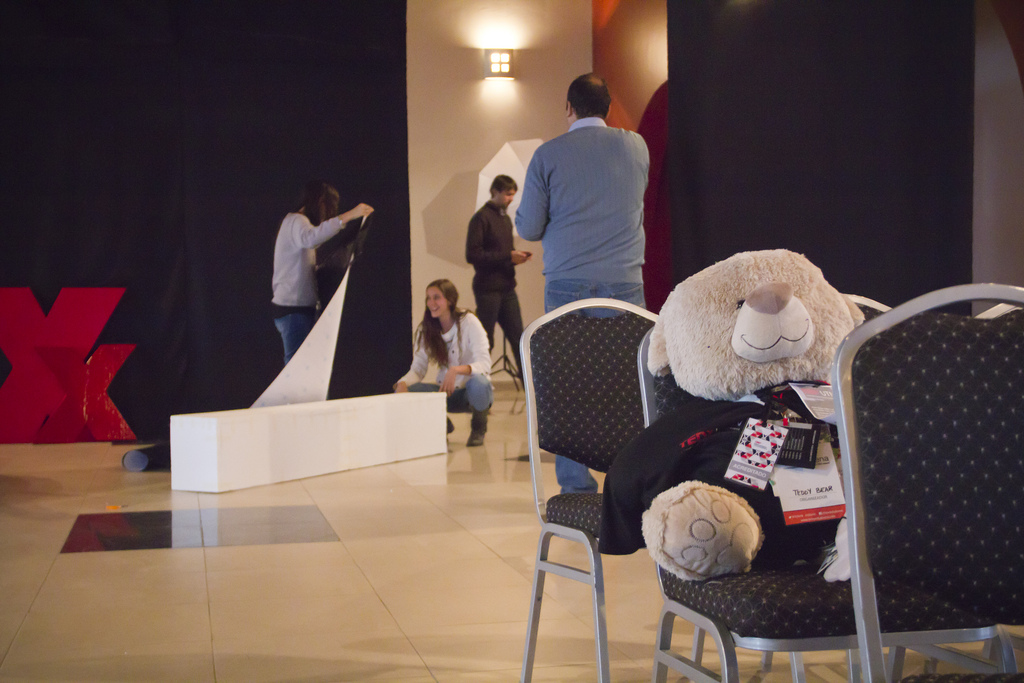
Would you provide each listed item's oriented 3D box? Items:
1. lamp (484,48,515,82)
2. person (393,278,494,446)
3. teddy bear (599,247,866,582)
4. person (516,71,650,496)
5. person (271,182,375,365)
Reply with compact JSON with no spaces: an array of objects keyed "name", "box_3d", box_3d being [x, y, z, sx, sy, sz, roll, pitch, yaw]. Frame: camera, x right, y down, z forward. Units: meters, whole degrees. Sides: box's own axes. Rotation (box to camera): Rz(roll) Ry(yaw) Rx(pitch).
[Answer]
[{"name":"lamp","box_3d":[-0.132,-2.839,8.711,0.293,0.297,0.073,2,2,-11]},{"name":"person","box_3d":[-0.468,0.144,6.072,0.667,1.150,0.528,2,2,5]},{"name":"teddy bear","box_3d":[0.619,0.146,2.183,0.726,0.823,0.545,-6,-12,9]},{"name":"person","box_3d":[0.352,-0.260,4.073,0.593,1.941,0.535,-4,9,-17]},{"name":"person","box_3d":[-1.295,-0.464,5.412,0.411,1.149,0.452,1,2,-14]}]
